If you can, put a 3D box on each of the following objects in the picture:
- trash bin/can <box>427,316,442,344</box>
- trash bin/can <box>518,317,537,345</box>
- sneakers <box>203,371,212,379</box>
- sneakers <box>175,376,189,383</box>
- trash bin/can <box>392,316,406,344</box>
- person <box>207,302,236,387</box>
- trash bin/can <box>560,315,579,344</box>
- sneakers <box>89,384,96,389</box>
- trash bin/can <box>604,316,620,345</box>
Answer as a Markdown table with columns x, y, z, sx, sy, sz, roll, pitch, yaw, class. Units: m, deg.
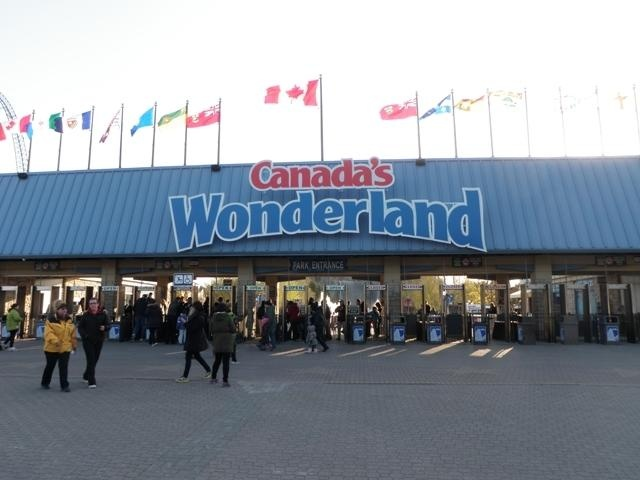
| x | y | z | sx | sy | sz | roll | pitch | yaw | class |
| --- | --- | --- | --- | --- | --- | --- | --- | --- | --- |
| 5.686 | 4.409 | 24.111 | 0.744 | 1.315 | 1.389 | -3 | -8 | 12 | trash bin/can |
| 9.846 | 4.304 | 23.378 | 0.512 | 1.288 | 0.963 | 1 | -8 | -23 | trash bin/can |
| -3.095 | 3.708 | 13.440 | 0.135 | 0.186 | 0.420 | 0 | -11 | -5 | sneakers |
| -3.596 | 3.635 | 12.723 | 0.335 | 0.155 | 0.130 | 5 | -7 | -4 | sneakers |
| 3.791 | 4.458 | 23.432 | 0.759 | 1.544 | 0.798 | -1 | -2 | 8 | trash bin/can |
| -2.486 | 2.667 | 12.723 | 0.621 | 2.088 | 0.752 | 0 | -3 | 11 | person |
| 11.965 | 4.283 | 23.356 | 0.760 | 1.353 | 0.367 | -4 | -7 | 18 | trash bin/can |
| -5.489 | 3.512 | 11.714 | 0.076 | 0.094 | 0.211 | 5 | -18 | -32 | sneakers |
| 14.072 | 4.322 | 23.473 | 0.569 | 1.252 | 1.117 | -7 | -9 | 34 | trash bin/can |
